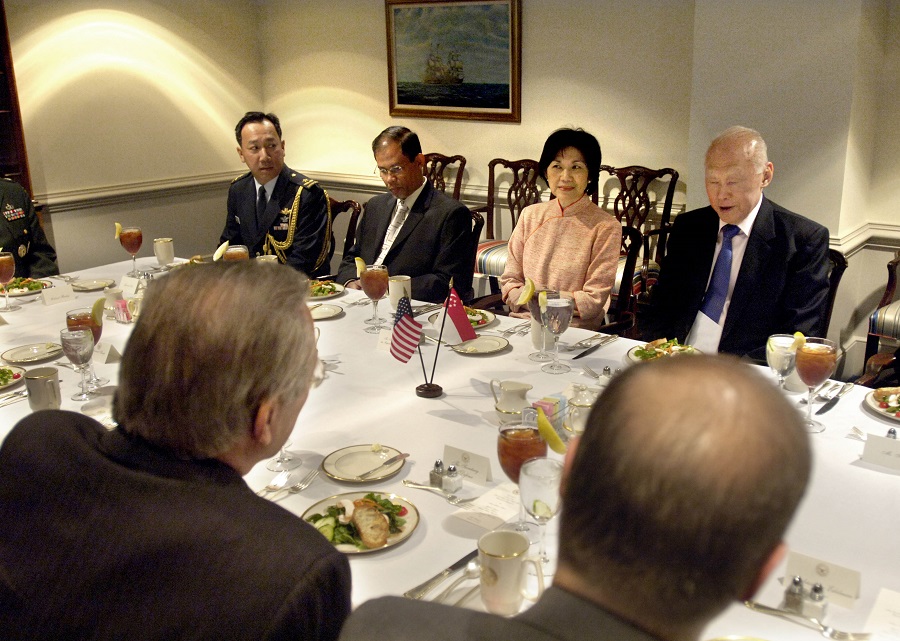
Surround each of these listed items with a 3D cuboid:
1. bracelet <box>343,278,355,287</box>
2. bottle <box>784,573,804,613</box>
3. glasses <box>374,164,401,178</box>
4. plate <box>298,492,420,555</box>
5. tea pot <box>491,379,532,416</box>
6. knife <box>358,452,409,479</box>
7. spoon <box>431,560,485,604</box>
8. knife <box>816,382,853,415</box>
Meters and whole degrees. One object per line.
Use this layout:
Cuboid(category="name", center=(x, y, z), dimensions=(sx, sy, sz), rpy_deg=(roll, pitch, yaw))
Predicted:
Cuboid(category="bracelet", center=(-0.520, -0.191, 3.221), dimensions=(0.046, 0.052, 0.134), rpy_deg=(-4, 1, -22))
Cuboid(category="bottle", center=(0.625, 0.500, 1.130), dimensions=(0.039, 0.071, 0.039), rpy_deg=(-2, 10, 0))
Cuboid(category="glasses", center=(-0.335, -0.803, 3.349), dimensions=(0.161, 0.070, 0.076), rpy_deg=(14, 20, 42))
Cuboid(category="plate", center=(-0.187, 0.425, 1.321), dimensions=(0.163, 0.030, 0.163), rpy_deg=(5, 18, 8))
Cuboid(category="tea pot", center=(0.172, 0.210, 1.752), dimensions=(0.081, 0.080, 0.100), rpy_deg=(-11, 16, -38))
Cuboid(category="knife", center=(-0.164, 0.362, 1.534), dimensions=(0.017, 0.017, 0.156), rpy_deg=(40, 31, 28))
Cuboid(category="spoon", center=(0.018, 0.483, 1.170), dimensions=(0.038, 0.019, 0.133), rpy_deg=(1, 24, 28))
Cuboid(category="knife", center=(1.115, 0.208, 1.814), dimensions=(0.055, 0.019, 0.382), rpy_deg=(16, 21, 35))
